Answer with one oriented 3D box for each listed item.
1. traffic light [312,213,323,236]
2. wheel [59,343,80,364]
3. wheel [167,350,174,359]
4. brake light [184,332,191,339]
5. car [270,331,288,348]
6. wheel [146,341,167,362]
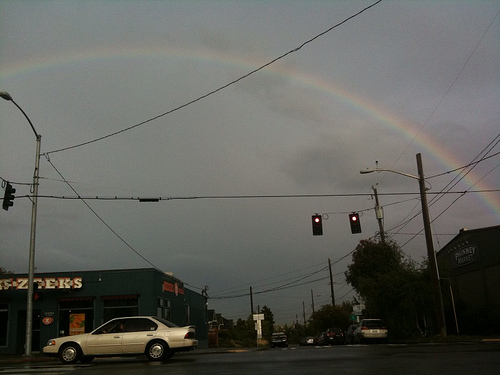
[{"bbox_3d":[4.139,2.421,35.535,0.566,1.508,1.095,-5,-21,5],"label":"traffic light"},{"bbox_3d":[-8.495,7.783,26.669,0.828,0.925,0.315,3,-2,12],"label":"wheel"},{"bbox_3d":[-3.734,7.880,26.839,0.321,0.349,0.248,-11,-8,29],"label":"wheel"},{"bbox_3d":[-2.983,6.933,26.621,0.190,0.300,0.068,3,-5,-4],"label":"brake light"},{"bbox_3d":[3.162,17.422,64.567,1.276,1.136,2.897,0,-6,3],"label":"car"},{"bbox_3d":[-4.364,7.612,26.488,0.841,0.941,0.331,-1,-5,9],"label":"wheel"}]
